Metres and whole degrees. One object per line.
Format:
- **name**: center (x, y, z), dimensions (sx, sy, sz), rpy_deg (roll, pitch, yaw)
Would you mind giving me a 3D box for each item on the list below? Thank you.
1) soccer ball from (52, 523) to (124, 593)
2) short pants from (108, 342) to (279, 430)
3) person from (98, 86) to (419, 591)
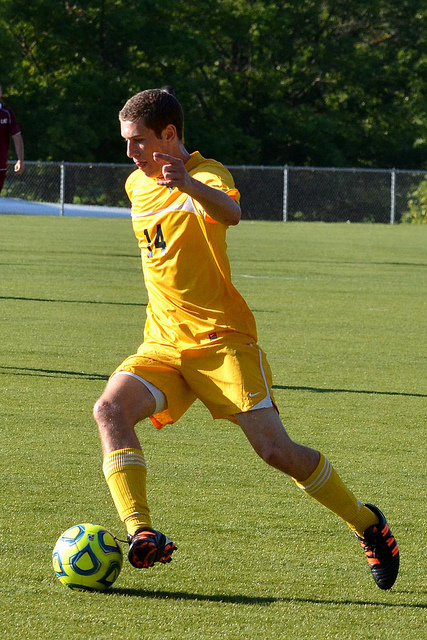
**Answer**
- **soccer ball**: center (-0.360, 0.678, 2.324), dimensions (0.194, 0.132, 0.185), rpy_deg (2, 9, 0)
- **short pants**: center (-0.058, 0.212, 2.675), dimensions (0.598, 0.336, 0.218), rpy_deg (-6, -26, 17)
- **person**: center (0.171, -0.005, 2.613), dimensions (1.056, 1.429, 1.114), rpy_deg (1, 9, -6)
